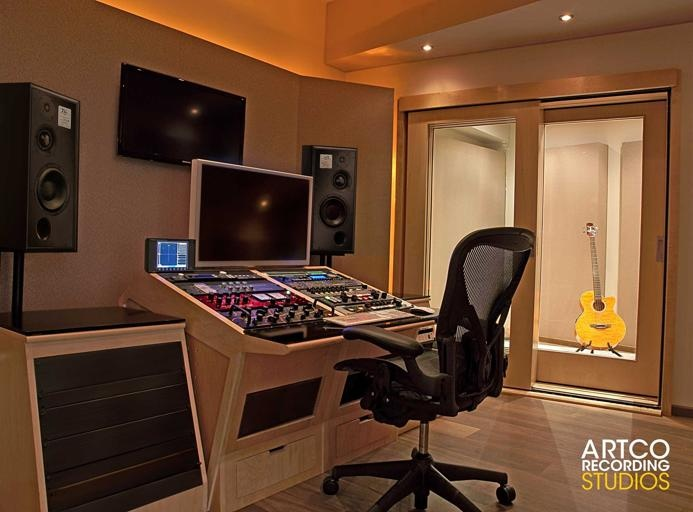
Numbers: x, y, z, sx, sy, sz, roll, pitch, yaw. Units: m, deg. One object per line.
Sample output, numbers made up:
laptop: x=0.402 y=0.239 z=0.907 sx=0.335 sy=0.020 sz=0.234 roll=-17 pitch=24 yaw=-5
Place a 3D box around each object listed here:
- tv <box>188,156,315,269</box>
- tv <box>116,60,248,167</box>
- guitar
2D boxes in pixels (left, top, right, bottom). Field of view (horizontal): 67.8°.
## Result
tv: x=-0.611 y=-0.262 z=3.216 sx=0.074 sy=0.555 sz=0.767 roll=1 pitch=-1 yaw=45
tv: x=-1.090 y=-0.929 z=3.305 sx=0.056 sy=0.514 sz=0.823 roll=7 pitch=3 yaw=43
guitar: x=2.146 y=0.384 z=4.324 sx=0.369 sy=0.851 sz=0.161 roll=4 pitch=7 yaw=28
